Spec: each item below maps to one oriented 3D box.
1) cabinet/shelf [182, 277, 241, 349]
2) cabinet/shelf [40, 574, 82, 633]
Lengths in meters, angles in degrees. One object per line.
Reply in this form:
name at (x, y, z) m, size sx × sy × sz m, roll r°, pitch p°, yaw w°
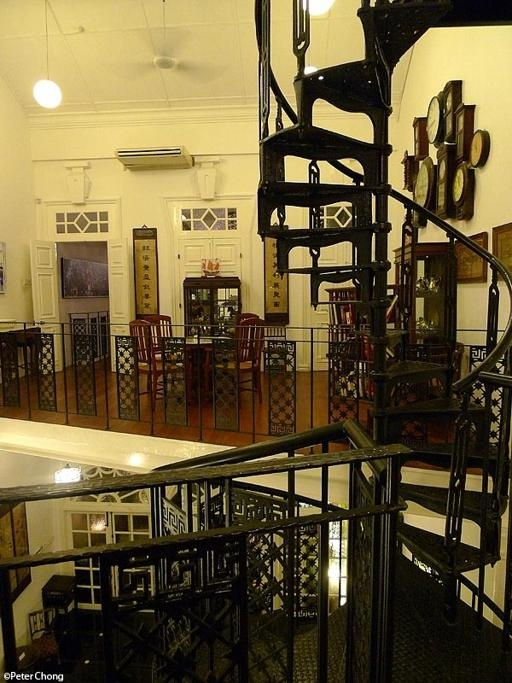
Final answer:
cabinet/shelf at (-0.523, -0.243, 7.387) m, size 0.644 × 1.054 × 0.350 m, roll 0°, pitch -34°, yaw -5°
cabinet/shelf at (-2.147, 2.894, 6.736) m, size 0.330 × 0.322 × 0.579 m, roll -4°, pitch 3°, yaw -12°
